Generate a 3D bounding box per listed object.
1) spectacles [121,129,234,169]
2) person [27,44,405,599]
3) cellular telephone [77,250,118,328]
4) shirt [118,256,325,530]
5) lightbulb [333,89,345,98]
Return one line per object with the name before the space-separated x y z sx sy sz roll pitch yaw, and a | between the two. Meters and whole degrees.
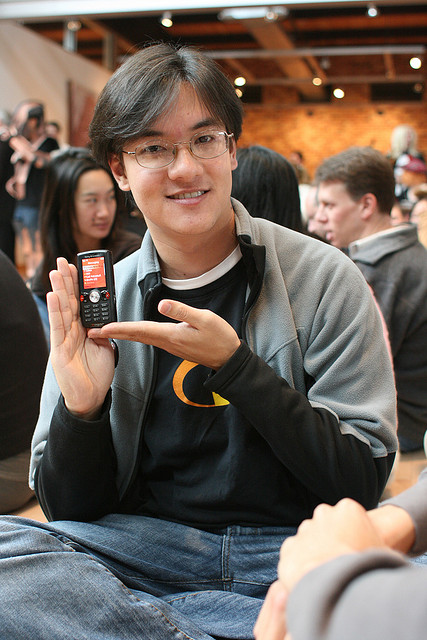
spectacles | -0.070 -0.319 0.994 0.194 0.073 0.077 -2 8 -7
person | -0.035 -0.026 1.028 0.628 1.039 0.545 -4 8 -23
cellular telephone | -0.225 -0.060 1.019 0.070 0.147 0.143 -3 8 -12
shirt | 0.031 0.116 1.076 0.379 0.498 0.175 5 9 24
lightbulb | 2.714 -4.909 11.413 0.241 0.161 0.171 0 8 10
